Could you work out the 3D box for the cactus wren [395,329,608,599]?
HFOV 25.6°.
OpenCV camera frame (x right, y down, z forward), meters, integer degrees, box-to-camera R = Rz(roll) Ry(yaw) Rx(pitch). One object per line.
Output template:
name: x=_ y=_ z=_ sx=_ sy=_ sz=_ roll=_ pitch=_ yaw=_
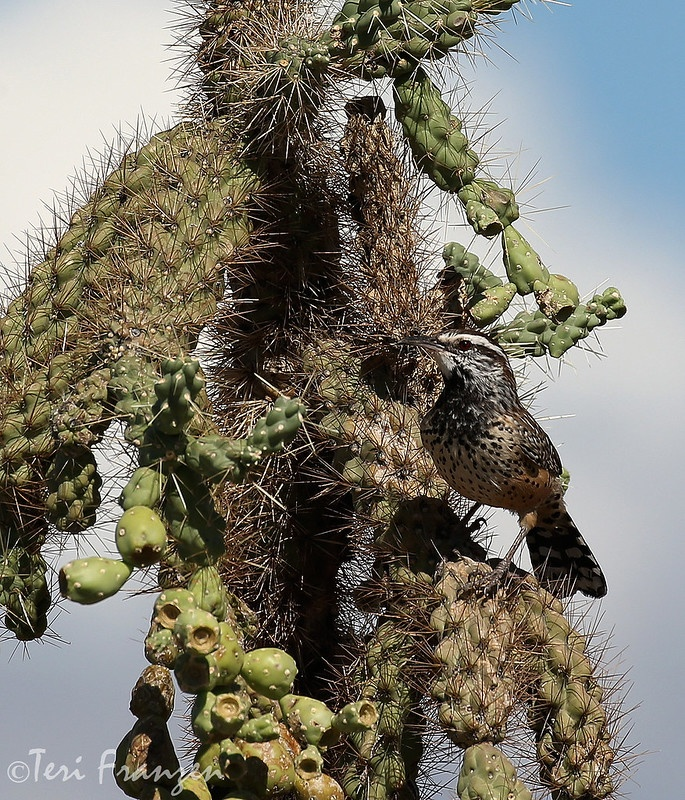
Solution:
cactus wren: x=0.403 y=0.164 z=3.622 sx=0.329 sy=0.603 sz=0.543 roll=-1 pitch=-8 yaw=38
